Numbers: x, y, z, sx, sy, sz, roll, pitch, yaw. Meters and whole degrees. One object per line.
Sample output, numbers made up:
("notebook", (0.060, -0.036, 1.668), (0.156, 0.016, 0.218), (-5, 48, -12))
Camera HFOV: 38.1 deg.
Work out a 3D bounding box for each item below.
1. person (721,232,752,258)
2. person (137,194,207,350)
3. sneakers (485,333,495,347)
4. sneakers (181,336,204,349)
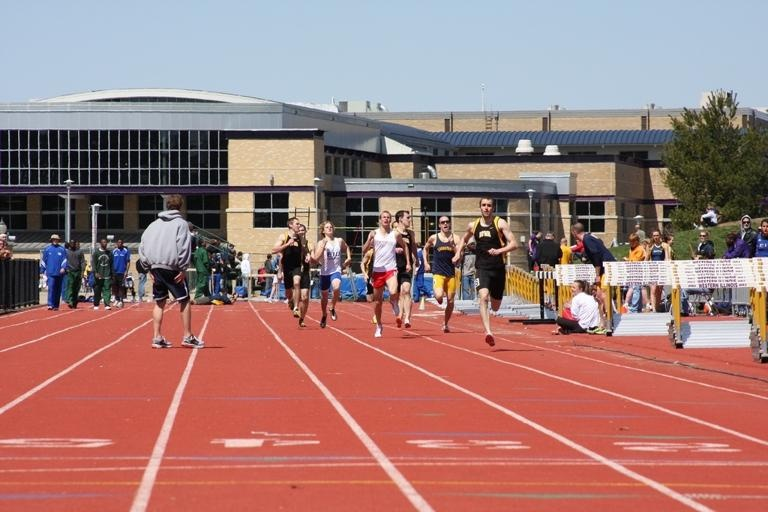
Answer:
("person", (8.079, -0.236, 25.567), (0.572, 0.574, 2.008), (0, 0, 15))
("person", (-3.666, 0.270, 18.704), (0.904, 2.596, 0.801), (0, -1, -10))
("sneakers", (1.746, 1.448, 18.520), (0.129, 0.138, 0.332), (-4, -32, 0))
("sneakers", (-3.274, 1.488, 19.057), (0.428, 0.194, 0.173), (1, 11, -16))
